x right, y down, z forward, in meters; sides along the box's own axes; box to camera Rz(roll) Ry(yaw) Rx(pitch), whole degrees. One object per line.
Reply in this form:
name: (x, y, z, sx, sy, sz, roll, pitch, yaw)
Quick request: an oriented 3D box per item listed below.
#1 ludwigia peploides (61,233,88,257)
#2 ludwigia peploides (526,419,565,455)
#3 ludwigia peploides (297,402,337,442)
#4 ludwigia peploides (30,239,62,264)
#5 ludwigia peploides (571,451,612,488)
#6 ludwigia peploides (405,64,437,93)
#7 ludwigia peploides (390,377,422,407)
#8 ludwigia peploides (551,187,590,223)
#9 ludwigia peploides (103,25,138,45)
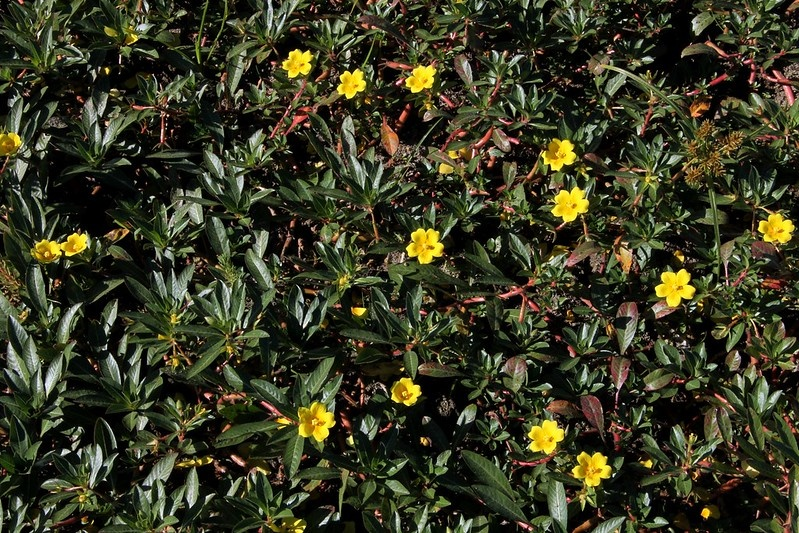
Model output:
ludwigia peploides: (-1.432, -0.096, 3.465, 0.101, 0.050, 0.102, 2, 61, 27)
ludwigia peploides: (0.601, 0.708, 3.174, 0.148, 0.142, 0.050, -17, 25, -24)
ludwigia peploides: (-0.328, 0.616, 3.039, 0.121, 0.122, 0.146, -1, 49, -24)
ludwigia peploides: (-1.557, -0.071, 3.432, 0.123, 0.091, 0.103, 7, 47, -18)
ludwigia peploides: (0.777, 0.825, 3.128, 0.146, 0.054, 0.144, 4, 85, 10)
ludwigia peploides: (0.100, -0.891, 3.676, 0.135, 0.135, 0.067, 45, 27, 11)
ludwigia peploides: (0.030, 0.529, 3.245, 0.053, 0.115, 0.110, -55, 126, -76)
ludwigia peploides: (0.757, -0.271, 3.407, 0.055, 0.184, 0.184, 39, 39, -27)
ludwigia peploides: (-1.336, -1.123, 3.738, 0.178, 0.064, 0.049, 1, 22, -46)
